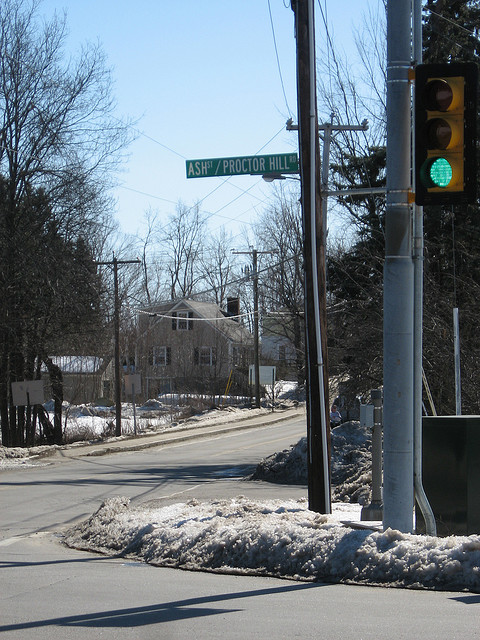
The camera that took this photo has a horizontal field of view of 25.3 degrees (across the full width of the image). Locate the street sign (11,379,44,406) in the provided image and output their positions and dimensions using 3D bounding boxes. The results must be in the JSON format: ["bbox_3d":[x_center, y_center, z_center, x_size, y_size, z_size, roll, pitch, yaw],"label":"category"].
[{"bbox_3d":[-5.583,1.944,28.121,0.550,0.708,0.094,-1,4,-5],"label":"street sign"}]

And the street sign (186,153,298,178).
[{"bbox_3d":[0.026,-1.967,13.689,1.429,0.269,0.209,-6,-4,-1],"label":"street sign"}]

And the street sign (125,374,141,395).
[{"bbox_3d":[-3.568,2.143,35.584,0.499,0.626,1.109,-3,-6,-8],"label":"street sign"}]

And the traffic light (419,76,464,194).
[{"bbox_3d":[1.733,-1.596,9.224,0.284,1.174,0.290,2,9,27],"label":"traffic light"}]
